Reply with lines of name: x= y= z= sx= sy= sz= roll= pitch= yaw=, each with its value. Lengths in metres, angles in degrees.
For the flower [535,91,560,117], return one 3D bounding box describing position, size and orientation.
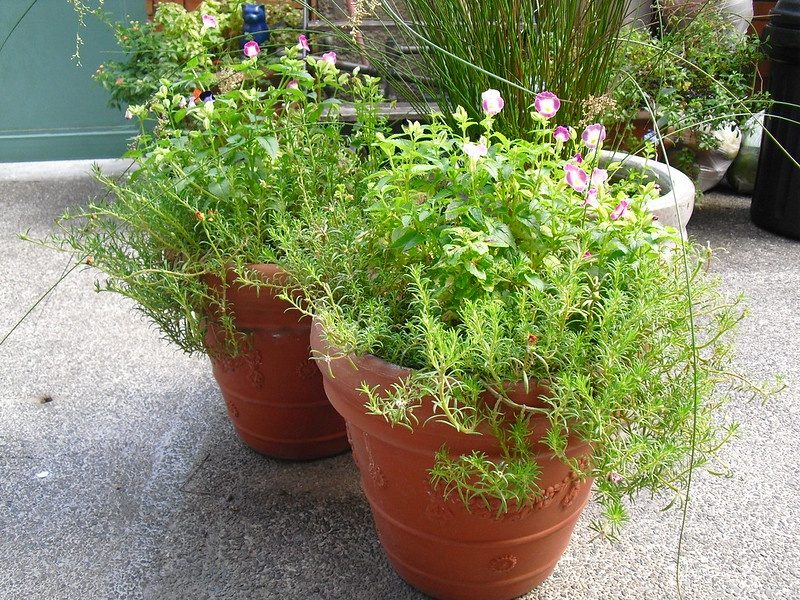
flower: x=0.291 y=-0.401 z=1.235 sx=0.058 sy=0.060 sz=0.024 roll=1 pitch=1 yaw=-2
